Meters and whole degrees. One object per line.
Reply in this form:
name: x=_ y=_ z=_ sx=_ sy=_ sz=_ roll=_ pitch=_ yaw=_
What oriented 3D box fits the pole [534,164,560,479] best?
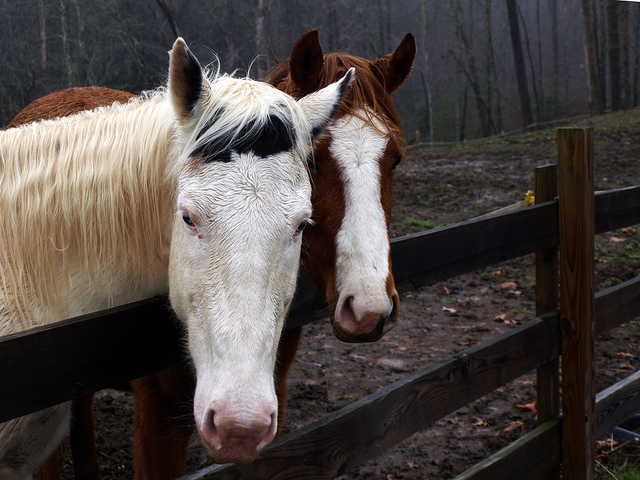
pole: x=1.788 y=0.641 z=5.637 sx=0.189 sy=2.368 sz=0.695 roll=0 pitch=13 yaw=17

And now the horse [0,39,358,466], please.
horse: x=-1.027 y=0.052 z=4.860 sx=1.973 sy=2.649 sz=1.144 roll=1 pitch=13 yaw=21

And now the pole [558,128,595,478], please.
pole: x=1.974 y=0.489 z=5.536 sx=0.274 sy=2.607 sz=0.587 roll=1 pitch=13 yaw=19
